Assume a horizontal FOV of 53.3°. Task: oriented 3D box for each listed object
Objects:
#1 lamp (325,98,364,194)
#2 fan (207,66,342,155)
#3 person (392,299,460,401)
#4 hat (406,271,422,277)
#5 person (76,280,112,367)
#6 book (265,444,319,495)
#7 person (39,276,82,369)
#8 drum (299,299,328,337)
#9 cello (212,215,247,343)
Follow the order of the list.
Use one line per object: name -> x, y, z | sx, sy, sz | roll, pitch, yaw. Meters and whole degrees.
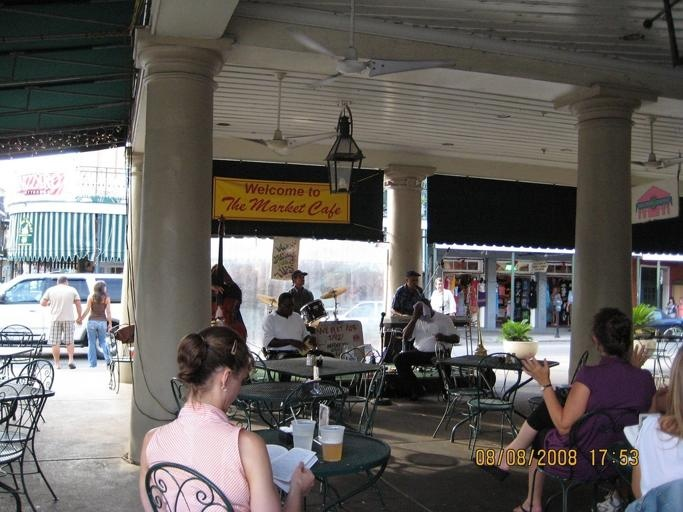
lamp -> 0.031, -1.440, 8.965 | 0.430, 1.288, 0.546 | 5, -7, -20
fan -> -0.903, -2.235, 10.608 | 1.158, 1.242, 1.437 | 1, 0, -38
person -> 1.417, 1.517, 11.054 | 0.995, 1.596, 0.790 | 2, -8, 8
hat -> 1.358, 0.325, 12.924 | 0.215, 0.109, 0.429 | -1, -2, 2
person -> -5.011, 1.369, 13.858 | 0.716, 1.725, 0.459 | 2, 0, -11
book -> -0.334, 1.352, 4.428 | 0.330, 0.105, 0.377 | 1, 5, 28
person -> -5.653, 1.213, 13.741 | 0.732, 2.253, 0.818 | 0, 0, -22
drum -> -0.477, 1.033, 11.728 | 0.479, 0.484, 0.489 | -25, -26, -3
cello -> -1.792, 0.228, 10.734 | 0.417, 2.390, 0.545 | 3, 1, -20
